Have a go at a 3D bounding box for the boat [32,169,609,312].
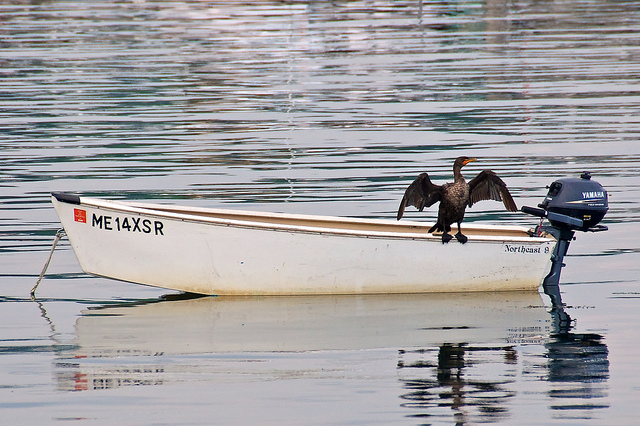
[{"bbox_3d":[0.105,0.545,31.475,10.868,1.620,1.659,1,-3,3],"label":"boat"}]
